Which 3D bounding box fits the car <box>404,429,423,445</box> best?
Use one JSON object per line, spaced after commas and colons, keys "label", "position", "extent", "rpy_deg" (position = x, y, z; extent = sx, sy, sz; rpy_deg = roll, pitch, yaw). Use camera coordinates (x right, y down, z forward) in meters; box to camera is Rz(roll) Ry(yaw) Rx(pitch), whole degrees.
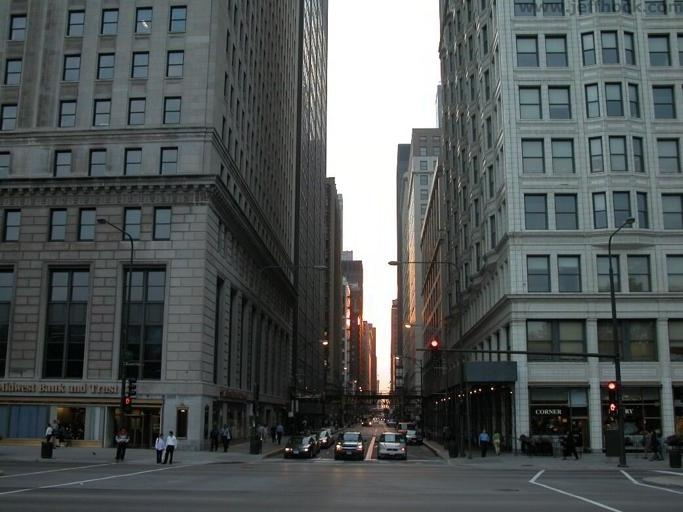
{"label": "car", "position": [7.322, 18.522, 75.671], "extent": [1.601, 1.549, 1.984], "rpy_deg": [-2, -17, 1]}

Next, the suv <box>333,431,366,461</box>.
{"label": "suv", "position": [0.564, 13.671, 53.420], "extent": [1.943, 2.064, 2.237], "rpy_deg": [-4, -17, 8]}

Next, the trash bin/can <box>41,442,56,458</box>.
{"label": "trash bin/can", "position": [-18.885, 12.407, 47.441], "extent": [0.706, 1.147, 1.060], "rpy_deg": [5, -18, -22]}

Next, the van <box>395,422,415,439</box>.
{"label": "van", "position": [6.888, 18.254, 77.780], "extent": [1.749, 1.668, 4.395], "rpy_deg": [1, -18, 0]}

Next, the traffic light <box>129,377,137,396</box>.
{"label": "traffic light", "position": [-13.912, 8.675, 49.037], "extent": [0.393, 1.233, 1.136], "rpy_deg": [1, -17, -9]}

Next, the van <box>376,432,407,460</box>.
{"label": "van", "position": [3.654, 14.053, 54.606], "extent": [2.016, 2.014, 2.077], "rpy_deg": [-2, -17, 0]}
